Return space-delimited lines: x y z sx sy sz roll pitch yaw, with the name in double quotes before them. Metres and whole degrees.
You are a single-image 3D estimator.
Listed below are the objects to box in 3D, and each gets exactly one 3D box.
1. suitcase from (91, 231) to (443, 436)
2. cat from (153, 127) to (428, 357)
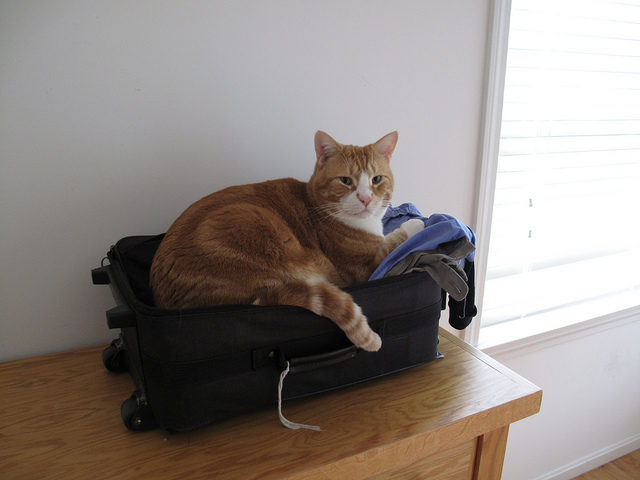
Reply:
"suitcase" -0.113 0.141 1.271 0.594 0.244 0.442 -6 17 -24
"cat" -0.024 0.050 1.340 0.635 0.391 0.449 -12 34 -23
